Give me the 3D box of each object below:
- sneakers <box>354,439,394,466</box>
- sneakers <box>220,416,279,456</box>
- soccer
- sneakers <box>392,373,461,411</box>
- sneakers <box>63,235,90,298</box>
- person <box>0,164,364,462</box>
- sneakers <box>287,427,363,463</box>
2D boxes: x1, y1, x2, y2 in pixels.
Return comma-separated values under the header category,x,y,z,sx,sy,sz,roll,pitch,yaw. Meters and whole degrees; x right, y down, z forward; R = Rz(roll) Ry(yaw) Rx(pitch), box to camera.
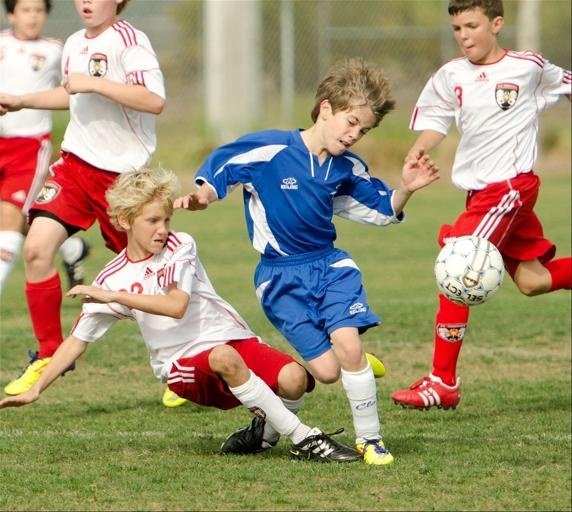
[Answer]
category,x,y,z,sx,sy,sz,roll,pitch,yaw
sneakers,0.432,0.930,4.513,0.177,0.091,0.139,0,9,6
sneakers,-0.181,0.907,4.750,0.304,0.101,0.129,-16,-19,-19
soccer,1.005,0.100,5.148,0.346,0.335,0.344,8,41,-7
sneakers,0.772,0.735,5.218,0.445,0.221,0.161,2,-8,-9
sneakers,-1.775,0.043,8.021,0.166,0.485,0.202,-3,47,-8
person,-0.499,0.289,4.559,1.490,1.411,0.472,-2,9,-6
sneakers,0.190,0.910,4.612,0.358,0.154,0.140,1,-2,12
